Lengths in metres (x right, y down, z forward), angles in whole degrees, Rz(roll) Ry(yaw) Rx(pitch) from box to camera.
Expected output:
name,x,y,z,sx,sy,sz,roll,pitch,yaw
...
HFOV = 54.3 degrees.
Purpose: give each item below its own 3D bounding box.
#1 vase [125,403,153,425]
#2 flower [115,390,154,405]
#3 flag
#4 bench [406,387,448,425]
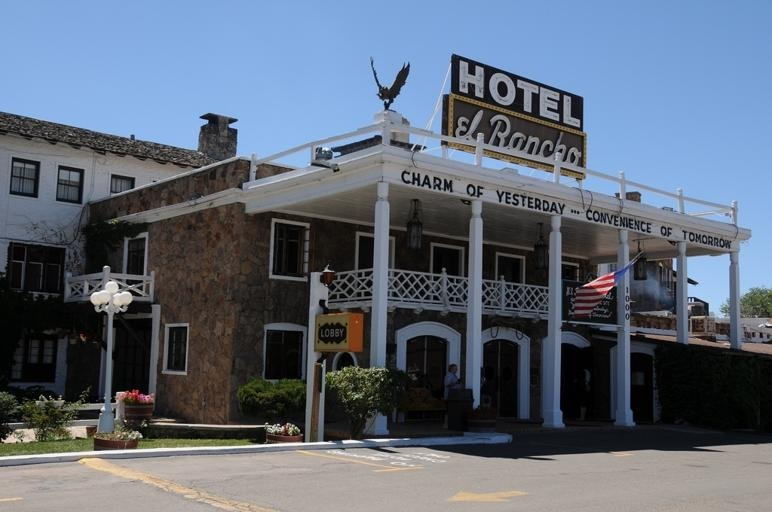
name,x,y,z,sx,sy,sz,roll,pitch,yaw
vase,-7.679,4.896,23.307,0.672,0.471,0.674,-1,-8,9
flower,-7.887,4.420,23.418,0.781,0.276,0.798,-6,-11,35
flag,7.452,1.204,26.027,1.906,2.068,2.720,-5,-14,26
bench,1.433,5.113,25.846,1.060,1.189,2.209,-8,-16,34
